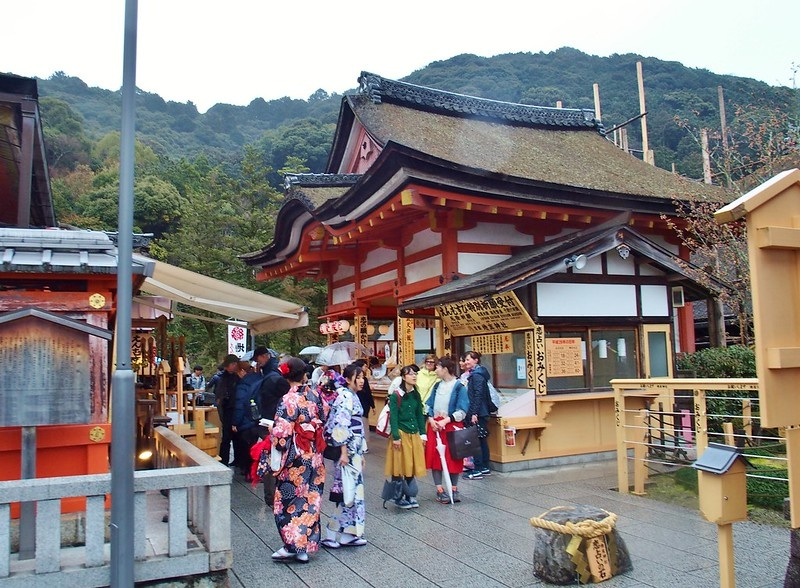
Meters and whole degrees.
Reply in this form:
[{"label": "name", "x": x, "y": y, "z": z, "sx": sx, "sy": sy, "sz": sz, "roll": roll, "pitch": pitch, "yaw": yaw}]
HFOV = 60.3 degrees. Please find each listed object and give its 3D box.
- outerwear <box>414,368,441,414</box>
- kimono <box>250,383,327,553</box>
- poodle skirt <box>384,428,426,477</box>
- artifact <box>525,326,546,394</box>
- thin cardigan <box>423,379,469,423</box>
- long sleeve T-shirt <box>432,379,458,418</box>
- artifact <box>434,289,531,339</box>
[{"label": "outerwear", "x": 0.428, "y": 1.337, "z": 9.772, "sx": 0.340, "sy": 0.616, "sz": 0.212, "roll": 2, "pitch": 12, "yaw": 9}, {"label": "kimono", "x": -1.067, "y": 1.875, "z": 7.263, "sx": 0.551, "sy": 1.432, "sz": 0.304, "roll": -3, "pitch": 1, "yaw": -42}, {"label": "poodle skirt", "x": 0.046, "y": 2.022, "z": 8.898, "sx": 0.757, "sy": 0.758, "sz": 0.539, "roll": 2, "pitch": -13, "yaw": -10}, {"label": "artifact", "x": 2.125, "y": 0.985, "z": 10.782, "sx": 0.353, "sy": 1.123, "sz": 0.116, "roll": -7, "pitch": -39, "yaw": 19}, {"label": "thin cardigan", "x": 0.658, "y": 1.469, "z": 9.339, "sx": 0.667, "sy": 0.592, "sz": 0.408, "roll": 5, "pitch": 6, "yaw": 39}, {"label": "long sleeve T-shirt", "x": 0.623, "y": 1.428, "z": 9.254, "sx": 0.233, "sy": 0.598, "sz": 0.306, "roll": 31, "pitch": -33, "yaw": -27}, {"label": "artifact", "x": 1.389, "y": 0.353, "z": 11.235, "sx": 0.616, "sy": 0.791, "sz": 1.817, "roll": -2, "pitch": 1, "yaw": -31}]
